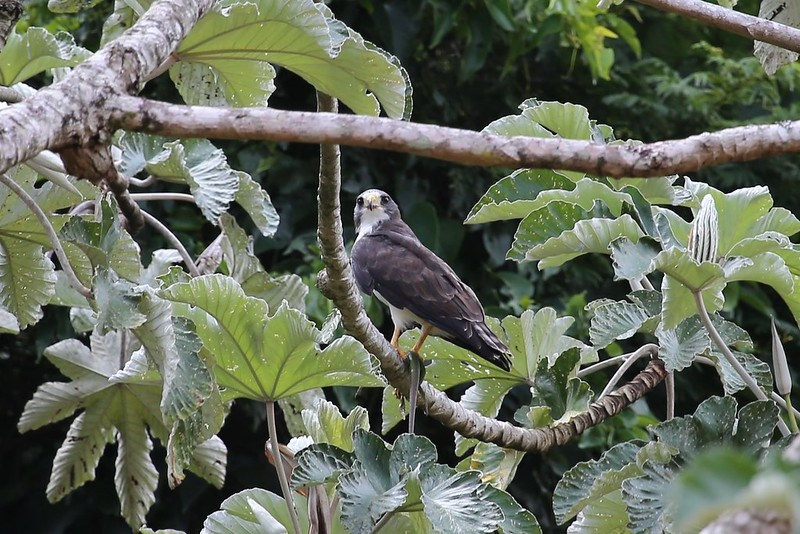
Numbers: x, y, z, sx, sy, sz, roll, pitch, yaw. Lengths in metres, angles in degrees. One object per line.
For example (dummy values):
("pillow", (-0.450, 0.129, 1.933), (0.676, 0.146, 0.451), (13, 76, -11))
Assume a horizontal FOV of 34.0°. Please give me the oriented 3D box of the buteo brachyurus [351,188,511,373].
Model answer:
("buteo brachyurus", (0.111, 0.087, 7.742), (1.030, 0.562, 1.266), (-3, 63, 12))
